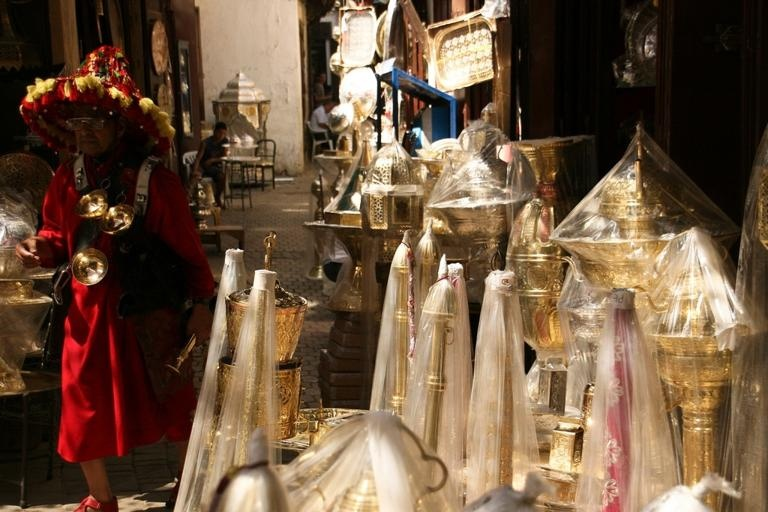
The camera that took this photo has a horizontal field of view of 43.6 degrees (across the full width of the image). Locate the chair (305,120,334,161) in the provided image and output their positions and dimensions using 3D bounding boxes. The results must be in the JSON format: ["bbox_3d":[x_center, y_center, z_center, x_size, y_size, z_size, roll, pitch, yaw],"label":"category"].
[{"bbox_3d":[-1.364,-2.571,21.139,0.604,0.773,0.574,-9,22,-9],"label":"chair"}]

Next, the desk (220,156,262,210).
[{"bbox_3d":[-2.564,-1.286,16.569,0.894,0.966,0.887,3,1,18],"label":"desk"}]

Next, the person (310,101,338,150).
[{"bbox_3d":[-1.307,-2.702,20.468,0.693,1.206,0.541,-7,26,-22],"label":"person"}]

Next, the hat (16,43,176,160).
[{"bbox_3d":[-1.401,-0.730,4.553,0.720,0.506,0.462,1,5,24],"label":"hat"}]

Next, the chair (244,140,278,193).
[{"bbox_3d":[-2.297,-1.808,18.351,0.558,0.811,0.526,-2,5,-35],"label":"chair"}]
